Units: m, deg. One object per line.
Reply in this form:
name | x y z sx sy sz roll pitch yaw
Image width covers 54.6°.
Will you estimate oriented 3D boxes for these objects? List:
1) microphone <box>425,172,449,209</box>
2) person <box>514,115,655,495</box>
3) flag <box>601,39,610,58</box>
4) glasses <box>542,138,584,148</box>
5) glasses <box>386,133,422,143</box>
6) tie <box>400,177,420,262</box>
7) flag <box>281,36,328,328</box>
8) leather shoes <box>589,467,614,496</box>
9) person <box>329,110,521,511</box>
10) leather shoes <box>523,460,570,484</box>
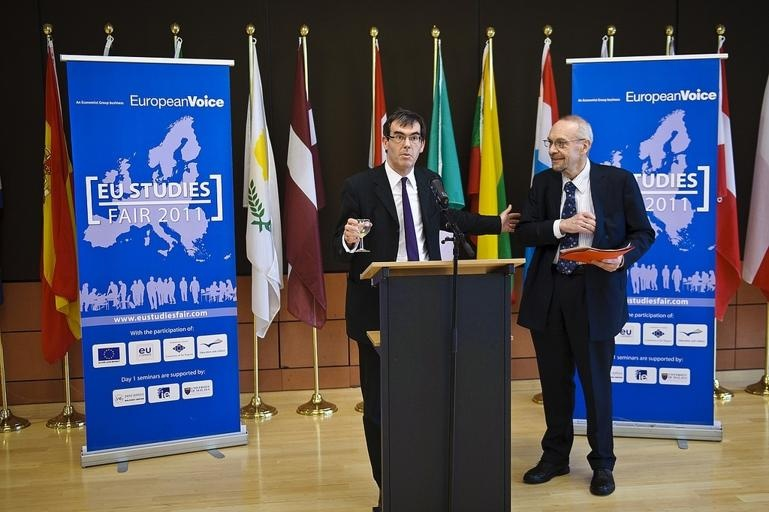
microphone | 0.339 -0.425 4.762 0.089 0.096 0.351 -2 46 -10
person | 1.438 0.347 5.484 0.907 2.650 0.734 3 15 14
flag | 2.012 -1.905 6.765 0.076 0.184 1.380 3 16 16
glasses | 1.313 -0.826 5.430 0.253 0.060 0.066 4 16 18
glasses | 0.135 -0.810 5.113 0.255 0.085 0.087 -1 15 1
tie | 0.172 -0.263 5.159 0.096 0.534 0.261 -3 15 -7
flag | -0.758 -0.523 6.749 0.325 2.278 0.596 -3 14 -7
leather shoes | 1.599 1.647 5.454 0.176 0.161 0.147 2 15 10
person | 0.237 0.377 5.268 1.129 2.728 0.816 -9 16 -29
leather shoes | 1.206 1.616 5.683 0.374 0.172 0.141 -7 2 -24
